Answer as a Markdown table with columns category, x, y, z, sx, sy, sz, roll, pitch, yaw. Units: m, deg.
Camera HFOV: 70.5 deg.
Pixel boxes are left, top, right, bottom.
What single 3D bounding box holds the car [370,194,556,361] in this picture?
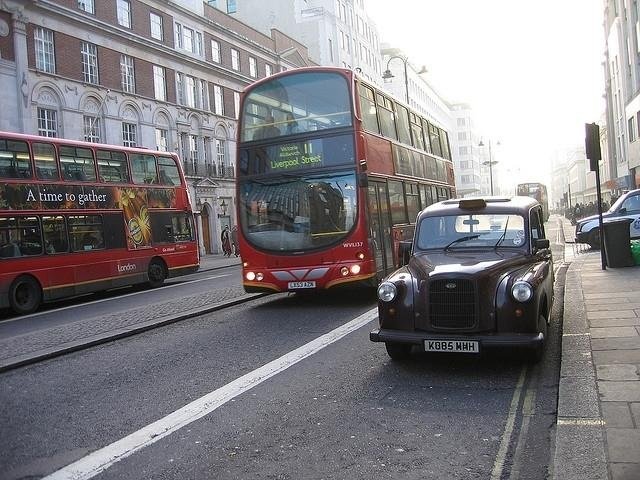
| category | x | y | z | sx | sy | sz | roll | pitch | yaw |
| --- | --- | --- | --- | --- | --- | --- | --- | --- | --- |
| car | 2.081 | 0.496 | 6.562 | 2.167 | 2.259 | 2.492 | -3 | 2 | 27 |

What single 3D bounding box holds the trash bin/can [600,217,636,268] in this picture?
| category | x | y | z | sx | sy | sz | roll | pitch | yaw |
| --- | --- | --- | --- | --- | --- | --- | --- | --- | --- |
| trash bin/can | 8.917 | 0.115 | 13.617 | 0.925 | 1.417 | 0.399 | -3 | 2 | 7 |

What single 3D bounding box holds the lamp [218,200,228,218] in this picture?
| category | x | y | z | sx | sy | sz | roll | pitch | yaw |
| --- | --- | --- | --- | --- | --- | --- | --- | --- | --- |
| lamp | -9.058 | -2.988 | 42.352 | 0.523 | 1.418 | 1.398 | -3 | 2 | 13 |

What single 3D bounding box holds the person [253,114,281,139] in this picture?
| category | x | y | z | sx | sy | sz | roll | pitch | yaw |
| --- | --- | --- | --- | --- | --- | --- | --- | --- | --- |
| person | -1.318 | -2.800 | 11.736 | 0.845 | 0.864 | 0.496 | 0 | 0 | 2 |
